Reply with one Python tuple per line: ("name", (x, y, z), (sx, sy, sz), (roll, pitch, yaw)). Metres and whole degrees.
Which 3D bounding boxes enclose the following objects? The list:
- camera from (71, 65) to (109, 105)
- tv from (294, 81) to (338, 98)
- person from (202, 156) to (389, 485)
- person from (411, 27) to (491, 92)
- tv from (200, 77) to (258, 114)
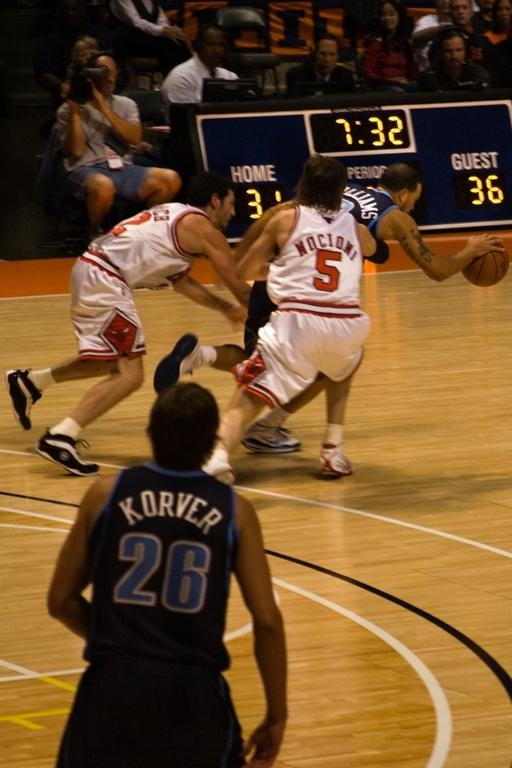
("camera", (-1.976, -3.568, 7.936), (0.533, 0.468, 0.289), (2, 8, -8))
("tv", (0.864, -4.293, 9.656), (0.710, 0.228, 0.366), (-1, 10, 0))
("person", (0.205, -0.330, 3.536), (1.088, 1.751, 0.456), (-8, 13, -32))
("person", (3.041, -4.968, 10.278), (1.112, 1.025, 0.654), (-2, 17, 24))
("tv", (-0.381, -4.032, 9.440), (0.946, 0.462, 0.626), (0, 3, -7))
